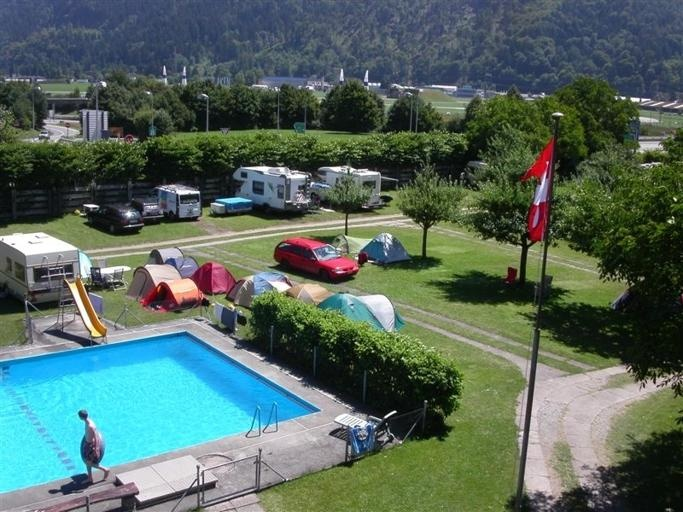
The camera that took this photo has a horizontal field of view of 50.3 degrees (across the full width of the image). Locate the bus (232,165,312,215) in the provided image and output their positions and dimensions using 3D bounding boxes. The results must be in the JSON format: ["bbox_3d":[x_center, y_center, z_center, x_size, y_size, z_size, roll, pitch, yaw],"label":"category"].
[{"bbox_3d":[-5.312,-5.319,60.779,4.951,4.159,4.837,-15,23,-31],"label":"bus"}]

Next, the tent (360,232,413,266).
[{"bbox_3d":[3.015,-0.434,47.976,2.124,1.308,2.128,-18,24,-40],"label":"tent"}]

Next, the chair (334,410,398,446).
[{"bbox_3d":[0.898,6.502,28.226,2.246,1.249,1.147,18,17,34],"label":"chair"}]

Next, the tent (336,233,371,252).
[{"bbox_3d":[0.569,-0.841,49.015,1.528,0.618,1.402,5,22,9],"label":"tent"}]

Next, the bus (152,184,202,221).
[{"bbox_3d":[-12.742,-4.281,56.719,1.973,2.210,3.319,-10,23,-37],"label":"bus"}]

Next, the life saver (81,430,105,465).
[{"bbox_3d":[-8.616,6.763,25.369,0.870,1.075,0.310,-13,0,7],"label":"life saver"}]

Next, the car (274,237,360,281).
[{"bbox_3d":[-1.514,0.037,44.476,4.885,2.034,2.300,19,31,35],"label":"car"}]

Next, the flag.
[{"bbox_3d":[7.216,-2.272,26.575,0.775,5.271,0.890,-18,22,-30],"label":"flag"}]

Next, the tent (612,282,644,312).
[{"bbox_3d":[15.288,2.273,39.087,1.103,1.967,0.584,22,7,25],"label":"tent"}]

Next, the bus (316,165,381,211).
[{"bbox_3d":[0.849,-6.321,63.506,3.318,3.163,5.374,-14,27,-42],"label":"bus"}]

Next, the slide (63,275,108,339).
[{"bbox_3d":[-12.144,2.585,35.103,0.905,2.351,3.036,-7,16,-40],"label":"slide"}]
